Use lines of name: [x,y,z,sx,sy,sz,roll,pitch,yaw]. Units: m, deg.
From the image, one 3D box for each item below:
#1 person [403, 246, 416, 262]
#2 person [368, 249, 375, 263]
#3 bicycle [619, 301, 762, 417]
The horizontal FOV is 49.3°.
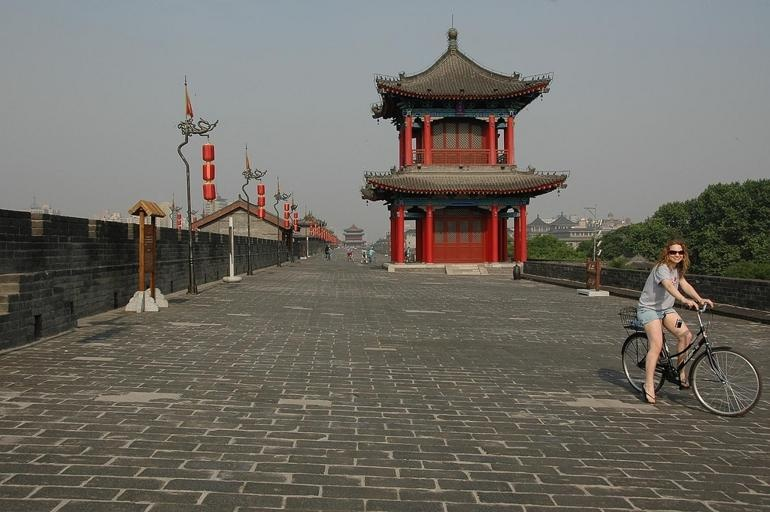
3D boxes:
person: [1.994,-0.150,66.180,1.124,1.509,1.360,-1,5,1]
person: [-1.193,-0.004,73.751,0.439,1.257,0.972,-2,5,17]
bicycle: [4.759,1.694,12.607,2.450,1.309,1.105,0,-4,43]
